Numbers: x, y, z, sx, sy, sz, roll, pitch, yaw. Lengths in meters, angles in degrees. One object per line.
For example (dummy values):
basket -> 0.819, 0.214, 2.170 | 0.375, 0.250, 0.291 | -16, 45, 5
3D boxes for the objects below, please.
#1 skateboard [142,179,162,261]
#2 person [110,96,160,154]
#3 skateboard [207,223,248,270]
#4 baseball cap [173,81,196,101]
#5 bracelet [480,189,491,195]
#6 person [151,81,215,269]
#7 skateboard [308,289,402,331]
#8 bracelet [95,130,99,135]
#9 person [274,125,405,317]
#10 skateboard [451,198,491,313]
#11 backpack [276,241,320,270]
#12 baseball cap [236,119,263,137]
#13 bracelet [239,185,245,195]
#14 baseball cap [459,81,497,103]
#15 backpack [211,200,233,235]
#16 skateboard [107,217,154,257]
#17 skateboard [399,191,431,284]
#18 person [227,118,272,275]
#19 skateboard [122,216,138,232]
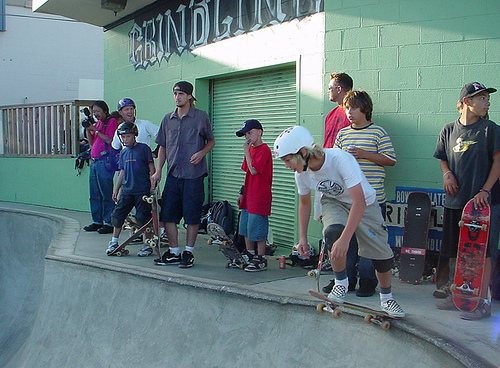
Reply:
skateboard -> -1.324, 0.471, 6.146 | 0.160, 1.260, 0.278 | -2, 1, 6
person -> -1.759, -0.891, 7.031 | 0.702, 0.990, 0.600 | 8, 31, 15
skateboard -> -0.296, 0.788, 5.748 | 0.258, 0.971, 0.142 | -7, 41, 34
baseball cap -> -0.849, -1.230, 5.964 | 0.206, 0.244, 0.360 | 2, 5, 8
bracelet -> 2.370, 0.079, 4.528 | 0.132, 0.064, 0.068 | -1, 5, -23
person -> -0.916, -0.130, 6.062 | 0.742, 2.397, 0.496 | 3, 5, 26
skateboard -> 0.978, 1.180, 4.231 | 0.813, 0.166, 0.232 | 16, -4, 11
bracelet -> -2.625, -0.873, 7.772 | 0.020, 0.072, 0.023 | 13, -16, 11
person -> 0.848, 0.325, 4.202 | 1.154, 1.677, 0.534 | 3, 5, 20
skateboard -> 2.168, 0.690, 4.452 | 0.284, 1.051, 0.319 | 4, 5, 34
backpack -> 0.795, 0.987, 6.064 | 0.232, 0.335, 0.702 | -6, -6, -44
baseball cap -> 0.006, -0.709, 5.826 | 0.283, 0.176, 0.183 | -7, 2, -25
bracelet -> -0.110, 0.093, 6.725 | 0.097, 0.104, 0.079 | -3, 0, 41
baseball cap -> 2.327, -0.932, 4.612 | 0.296, 0.167, 0.187 | -24, -8, 37
backpack -> -0.471, 0.455, 7.488 | 0.300, 0.625, 0.424 | -21, 46, -26
skateboard -> -1.776, 0.796, 6.812 | 0.097, 0.668, 0.143 | 34, -16, 35
skateboard -> 1.916, 0.590, 5.220 | 0.266, 1.154, 0.173 | 8, -1, 34
person -> 0.026, 0.127, 6.203 | 0.519, 1.959, 1.229 | 1, 5, 1
skateboard -> -1.963, 0.656, 7.460 | 0.199, 0.322, 0.161 | 28, 35, 8
